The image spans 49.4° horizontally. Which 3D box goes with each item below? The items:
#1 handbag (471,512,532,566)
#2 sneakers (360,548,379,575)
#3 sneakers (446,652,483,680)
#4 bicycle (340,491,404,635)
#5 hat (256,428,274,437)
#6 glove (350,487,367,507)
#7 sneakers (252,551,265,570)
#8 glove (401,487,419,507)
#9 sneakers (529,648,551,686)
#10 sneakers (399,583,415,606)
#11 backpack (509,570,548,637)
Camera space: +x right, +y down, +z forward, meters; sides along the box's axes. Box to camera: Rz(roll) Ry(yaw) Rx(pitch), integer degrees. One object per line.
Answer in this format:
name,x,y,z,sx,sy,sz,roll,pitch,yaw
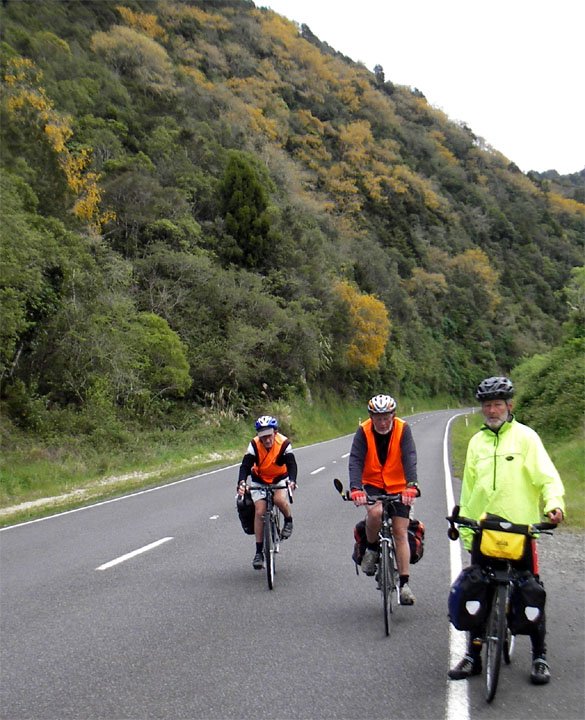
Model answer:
handbag,1.260,1.073,3.814,0.280,0.322,0.245,6,-17,18
sneakers,0.655,1.705,5.398,0.102,0.221,0.080,2,0,15
sneakers,1.103,1.939,4.064,0.100,0.159,0.301,-4,-8,39
bicycle,0.698,1.669,5.449,0.463,0.993,1.279,-1,-2,5
hat,-0.306,0.843,7.259,0.196,0.112,0.298,-2,-3,-4
glove,0.544,1.143,5.230,0.137,0.100,0.262,-2,-3,0
sneakers,-0.365,2.146,6.791,0.101,0.234,0.075,1,-10,12
glove,0.964,1.175,5.356,0.123,0.055,0.203,8,-51,-9
sneakers,1.522,1.918,3.930,0.069,0.118,0.242,-3,-4,10
sneakers,0.940,1.951,5.300,0.113,0.143,0.182,-2,-2,9
backpack,1.409,1.493,3.848,0.204,0.352,0.171,-2,-1,20
